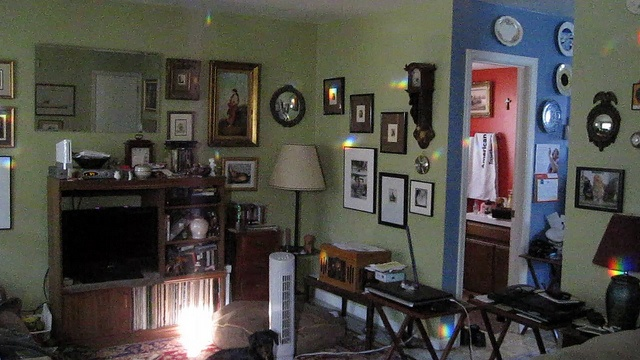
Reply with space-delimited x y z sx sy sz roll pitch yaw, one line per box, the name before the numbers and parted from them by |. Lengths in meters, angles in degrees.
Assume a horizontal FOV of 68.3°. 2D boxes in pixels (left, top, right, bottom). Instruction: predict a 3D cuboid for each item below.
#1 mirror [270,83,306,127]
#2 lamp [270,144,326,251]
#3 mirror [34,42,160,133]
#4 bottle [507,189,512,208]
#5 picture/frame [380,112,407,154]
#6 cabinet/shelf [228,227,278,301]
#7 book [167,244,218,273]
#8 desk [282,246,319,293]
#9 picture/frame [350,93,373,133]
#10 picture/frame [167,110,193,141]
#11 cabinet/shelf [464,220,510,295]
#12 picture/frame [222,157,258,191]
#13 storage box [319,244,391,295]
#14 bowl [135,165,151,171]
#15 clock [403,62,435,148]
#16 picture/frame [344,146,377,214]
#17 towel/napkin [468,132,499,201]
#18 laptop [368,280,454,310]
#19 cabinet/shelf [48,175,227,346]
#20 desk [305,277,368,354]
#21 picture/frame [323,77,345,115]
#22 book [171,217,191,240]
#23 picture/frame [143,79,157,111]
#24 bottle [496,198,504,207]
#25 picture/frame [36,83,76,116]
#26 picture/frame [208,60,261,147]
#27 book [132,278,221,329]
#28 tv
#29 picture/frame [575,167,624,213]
mirror | -0.530 -1.182 7.365 0.824 0.788 0.098 -1 9 -23
lamp | -0.346 0.264 7.088 0.611 1.600 0.574 8 10 44
mirror | -3.060 -1.182 6.467 2.196 1.359 0.083 6 9 19
bottle | 3.158 0.318 7.859 0.068 0.256 0.247 4 8 27
picture/frame | 1.023 -0.652 6.530 0.084 0.571 0.432 -5 9 -37
cabinet/shelf | -0.970 1.233 6.878 0.780 1.046 0.451 -1 7 -9
book | -1.784 1.112 6.584 0.556 0.145 0.404 -3 5 -34
desk | -0.263 1.459 7.701 0.573 0.428 0.547 2 0 3
picture/frame | 0.616 -0.981 6.922 0.071 0.553 0.443 -6 10 -42
picture/frame | -2.009 -0.761 6.811 0.452 0.445 0.036 5 7 24
cabinet/shelf | 2.690 1.361 8.022 0.738 1.144 0.915 8 -9 24
picture/frame | -1.220 -0.101 7.185 0.648 0.530 0.040 1 -1 23
storage box | 0.495 1.214 6.649 0.677 0.472 0.913 -2 3 -37
bowl | -2.347 -0.165 6.280 0.213 0.079 0.113 -2 7 -19
clock | 1.317 -0.968 6.161 0.379 1.111 0.179 6 9 38
picture/frame | 0.596 -0.007 6.980 0.128 0.957 0.606 -5 9 -39
towel/napkin | 2.998 -0.255 8.661 0.579 1.221 0.307 5 9 32
laptop | 1.079 1.389 5.665 0.482 0.093 0.517 0 1 -36
cabinet/shelf | -2.523 1.097 6.289 2.664 2.164 0.971 -1 2 -22
desk | 0.207 1.851 6.349 1.014 0.690 0.328 -1 -5 -3
picture/frame | 0.216 -1.303 7.300 0.067 0.561 0.441 -6 10 -43
book | -1.939 0.674 6.489 0.326 0.195 0.078 -42 16 -12
picture/frame | -2.373 -1.203 6.648 0.287 0.434 0.036 8 10 24
bottle | 3.049 0.381 7.995 0.086 0.094 0.144 15 3 9
picture/frame | -3.522 -1.094 6.247 0.530 0.406 0.051 1 7 -18
picture/frame | -1.280 -1.137 7.041 0.779 1.241 0.191 -1 8 -12
book | -2.004 1.691 6.423 0.928 0.533 0.069 0 -3 -32
tv | -2.970 0.926 6.456 0.511 1.011 1.391 -15 -12 32
picture/frame | 3.035 0.102 5.089 0.561 0.527 0.048 4 2 45
